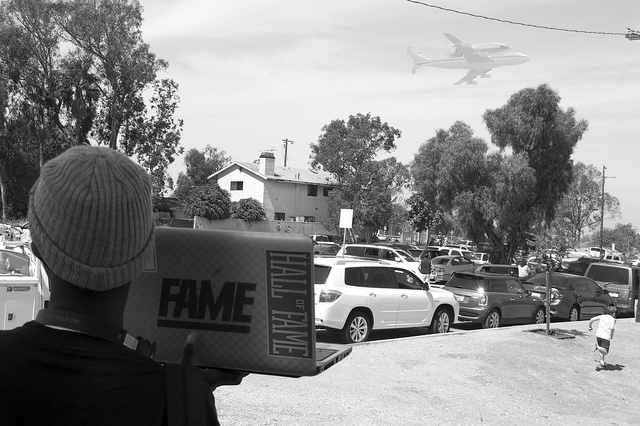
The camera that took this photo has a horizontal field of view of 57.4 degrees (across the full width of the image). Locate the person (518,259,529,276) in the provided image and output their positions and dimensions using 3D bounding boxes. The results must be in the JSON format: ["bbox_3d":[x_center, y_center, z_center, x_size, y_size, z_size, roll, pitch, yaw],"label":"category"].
[{"bbox_3d":[5.809,1.539,16.640,0.259,0.344,0.819,1,1,13],"label":"person"}]

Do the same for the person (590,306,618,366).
[{"bbox_3d":[6.466,2.795,13.400,0.479,1.291,1.869,8,2,26],"label":"person"}]

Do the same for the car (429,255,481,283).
[{"bbox_3d":[6.596,2.775,29.717,1.658,1.458,3.935,1,6,42],"label":"car"}]

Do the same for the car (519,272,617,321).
[{"bbox_3d":[8.407,2.818,19.805,3.704,1.354,1.689,1,-1,-44],"label":"car"}]

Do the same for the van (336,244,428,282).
[{"bbox_3d":[2.634,2.247,25.213,3.245,1.488,1.592,0,2,-7],"label":"van"}]

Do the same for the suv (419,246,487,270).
[{"bbox_3d":[7.387,2.448,32.187,2.435,0.901,1.134,-2,3,-42],"label":"suv"}]

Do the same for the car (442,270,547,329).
[{"bbox_3d":[4.902,2.511,16.959,2.467,1.286,1.499,-4,3,-38],"label":"car"}]
